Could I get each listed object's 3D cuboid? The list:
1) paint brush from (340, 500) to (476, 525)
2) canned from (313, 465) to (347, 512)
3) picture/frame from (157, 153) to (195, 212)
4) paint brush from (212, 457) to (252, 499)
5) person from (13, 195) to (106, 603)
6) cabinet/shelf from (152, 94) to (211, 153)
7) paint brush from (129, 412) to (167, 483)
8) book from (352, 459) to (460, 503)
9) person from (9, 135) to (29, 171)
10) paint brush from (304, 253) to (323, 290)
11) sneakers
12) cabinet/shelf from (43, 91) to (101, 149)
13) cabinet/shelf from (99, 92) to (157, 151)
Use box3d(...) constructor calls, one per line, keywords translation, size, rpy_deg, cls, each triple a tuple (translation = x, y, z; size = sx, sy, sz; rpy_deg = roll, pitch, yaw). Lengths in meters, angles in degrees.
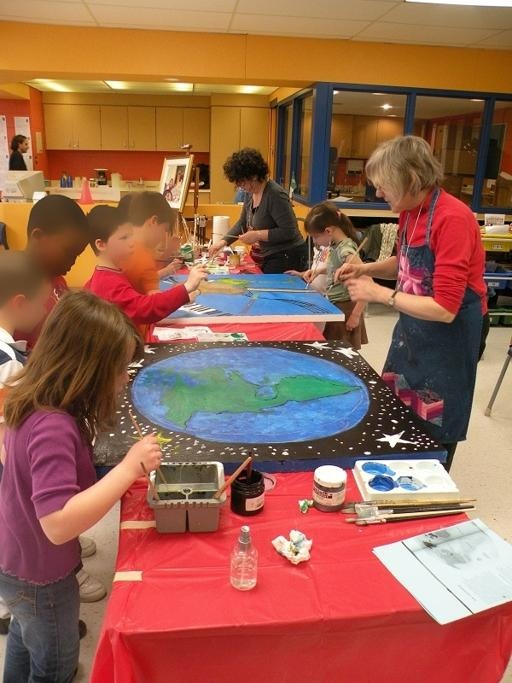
box3d(translation=(0.306, 0.344, 1.052), size=(0.255, 0.040, 0.080), rpy_deg=(-4, -3, -6), cls="paint brush")
box3d(translation=(0.146, 0.300, 1.050), size=(0.078, 0.079, 0.075), rpy_deg=(-1, 24, -2), cls="canned")
box3d(translation=(-0.489, -0.949, 3.171), size=(0.042, 0.316, 0.402), rpy_deg=(0, 15, -31), cls="picture/frame")
box3d(translation=(-0.046, 0.277, 1.044), size=(0.019, 0.130, 0.017), rpy_deg=(0, 42, -40), cls="paint brush")
box3d(translation=(-0.562, 0.063, 1.524), size=(0.271, 0.911, 0.233), rpy_deg=(-7, 22, -21), cls="person")
box3d(translation=(-1.170, -3.694, 8.573), size=(0.888, 0.297, 0.739), rpy_deg=(-3, 38, -9), cls="cabinet/shelf")
box3d(translation=(-0.219, 0.222, 1.073), size=(0.023, 0.011, 0.218), rpy_deg=(18, 25, -51), cls="paint brush")
box3d(translation=(0.314, 0.296, 1.129), size=(0.151, 0.025, 0.106), rpy_deg=(0, 21, -4), cls="book")
box3d(translation=(-2.805, -2.239, 6.219), size=(0.215, 0.396, 0.707), rpy_deg=(-7, 20, -22), cls="person")
box3d(translation=(0.383, -0.427, 3.254), size=(0.056, 0.186, 0.140), rpy_deg=(9, 21, -20), cls="paint brush")
box3d(translation=(-0.644, 0.771, 1.670), size=(0.253, 0.078, 0.243), rpy_deg=(-8, 29, -30), cls="sneakers")
box3d(translation=(-2.846, -3.435, 8.268), size=(0.864, 0.695, 0.335), rpy_deg=(0, 7, -6), cls="cabinet/shelf")
box3d(translation=(-2.165, -3.442, 8.387), size=(1.011, 0.665, 0.544), rpy_deg=(-18, 36, -39), cls="cabinet/shelf")
